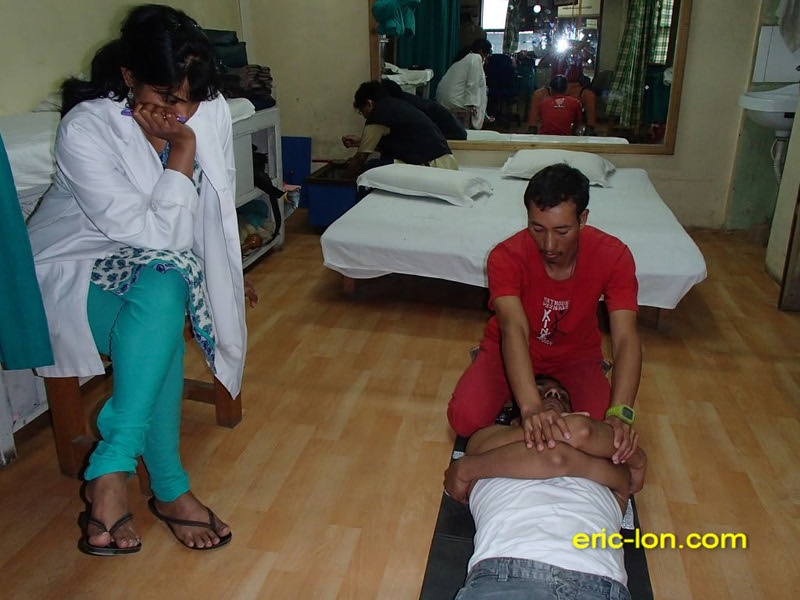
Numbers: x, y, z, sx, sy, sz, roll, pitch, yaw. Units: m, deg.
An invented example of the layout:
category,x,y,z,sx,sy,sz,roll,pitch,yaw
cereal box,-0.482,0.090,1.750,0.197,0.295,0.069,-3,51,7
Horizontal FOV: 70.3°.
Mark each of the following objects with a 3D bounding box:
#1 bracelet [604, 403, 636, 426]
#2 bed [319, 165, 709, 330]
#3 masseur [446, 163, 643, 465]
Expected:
category,x,y,z,sx,sy,sz,roll,pitch,yaw
bracelet,0.737,0.382,1.880,0.083,0.060,0.091,22,-16,-7
bed,0.666,-0.647,4.219,2.427,0.774,2.287,5,16,10
masseur,0.537,0.060,2.120,0.685,1.126,0.638,9,17,14
